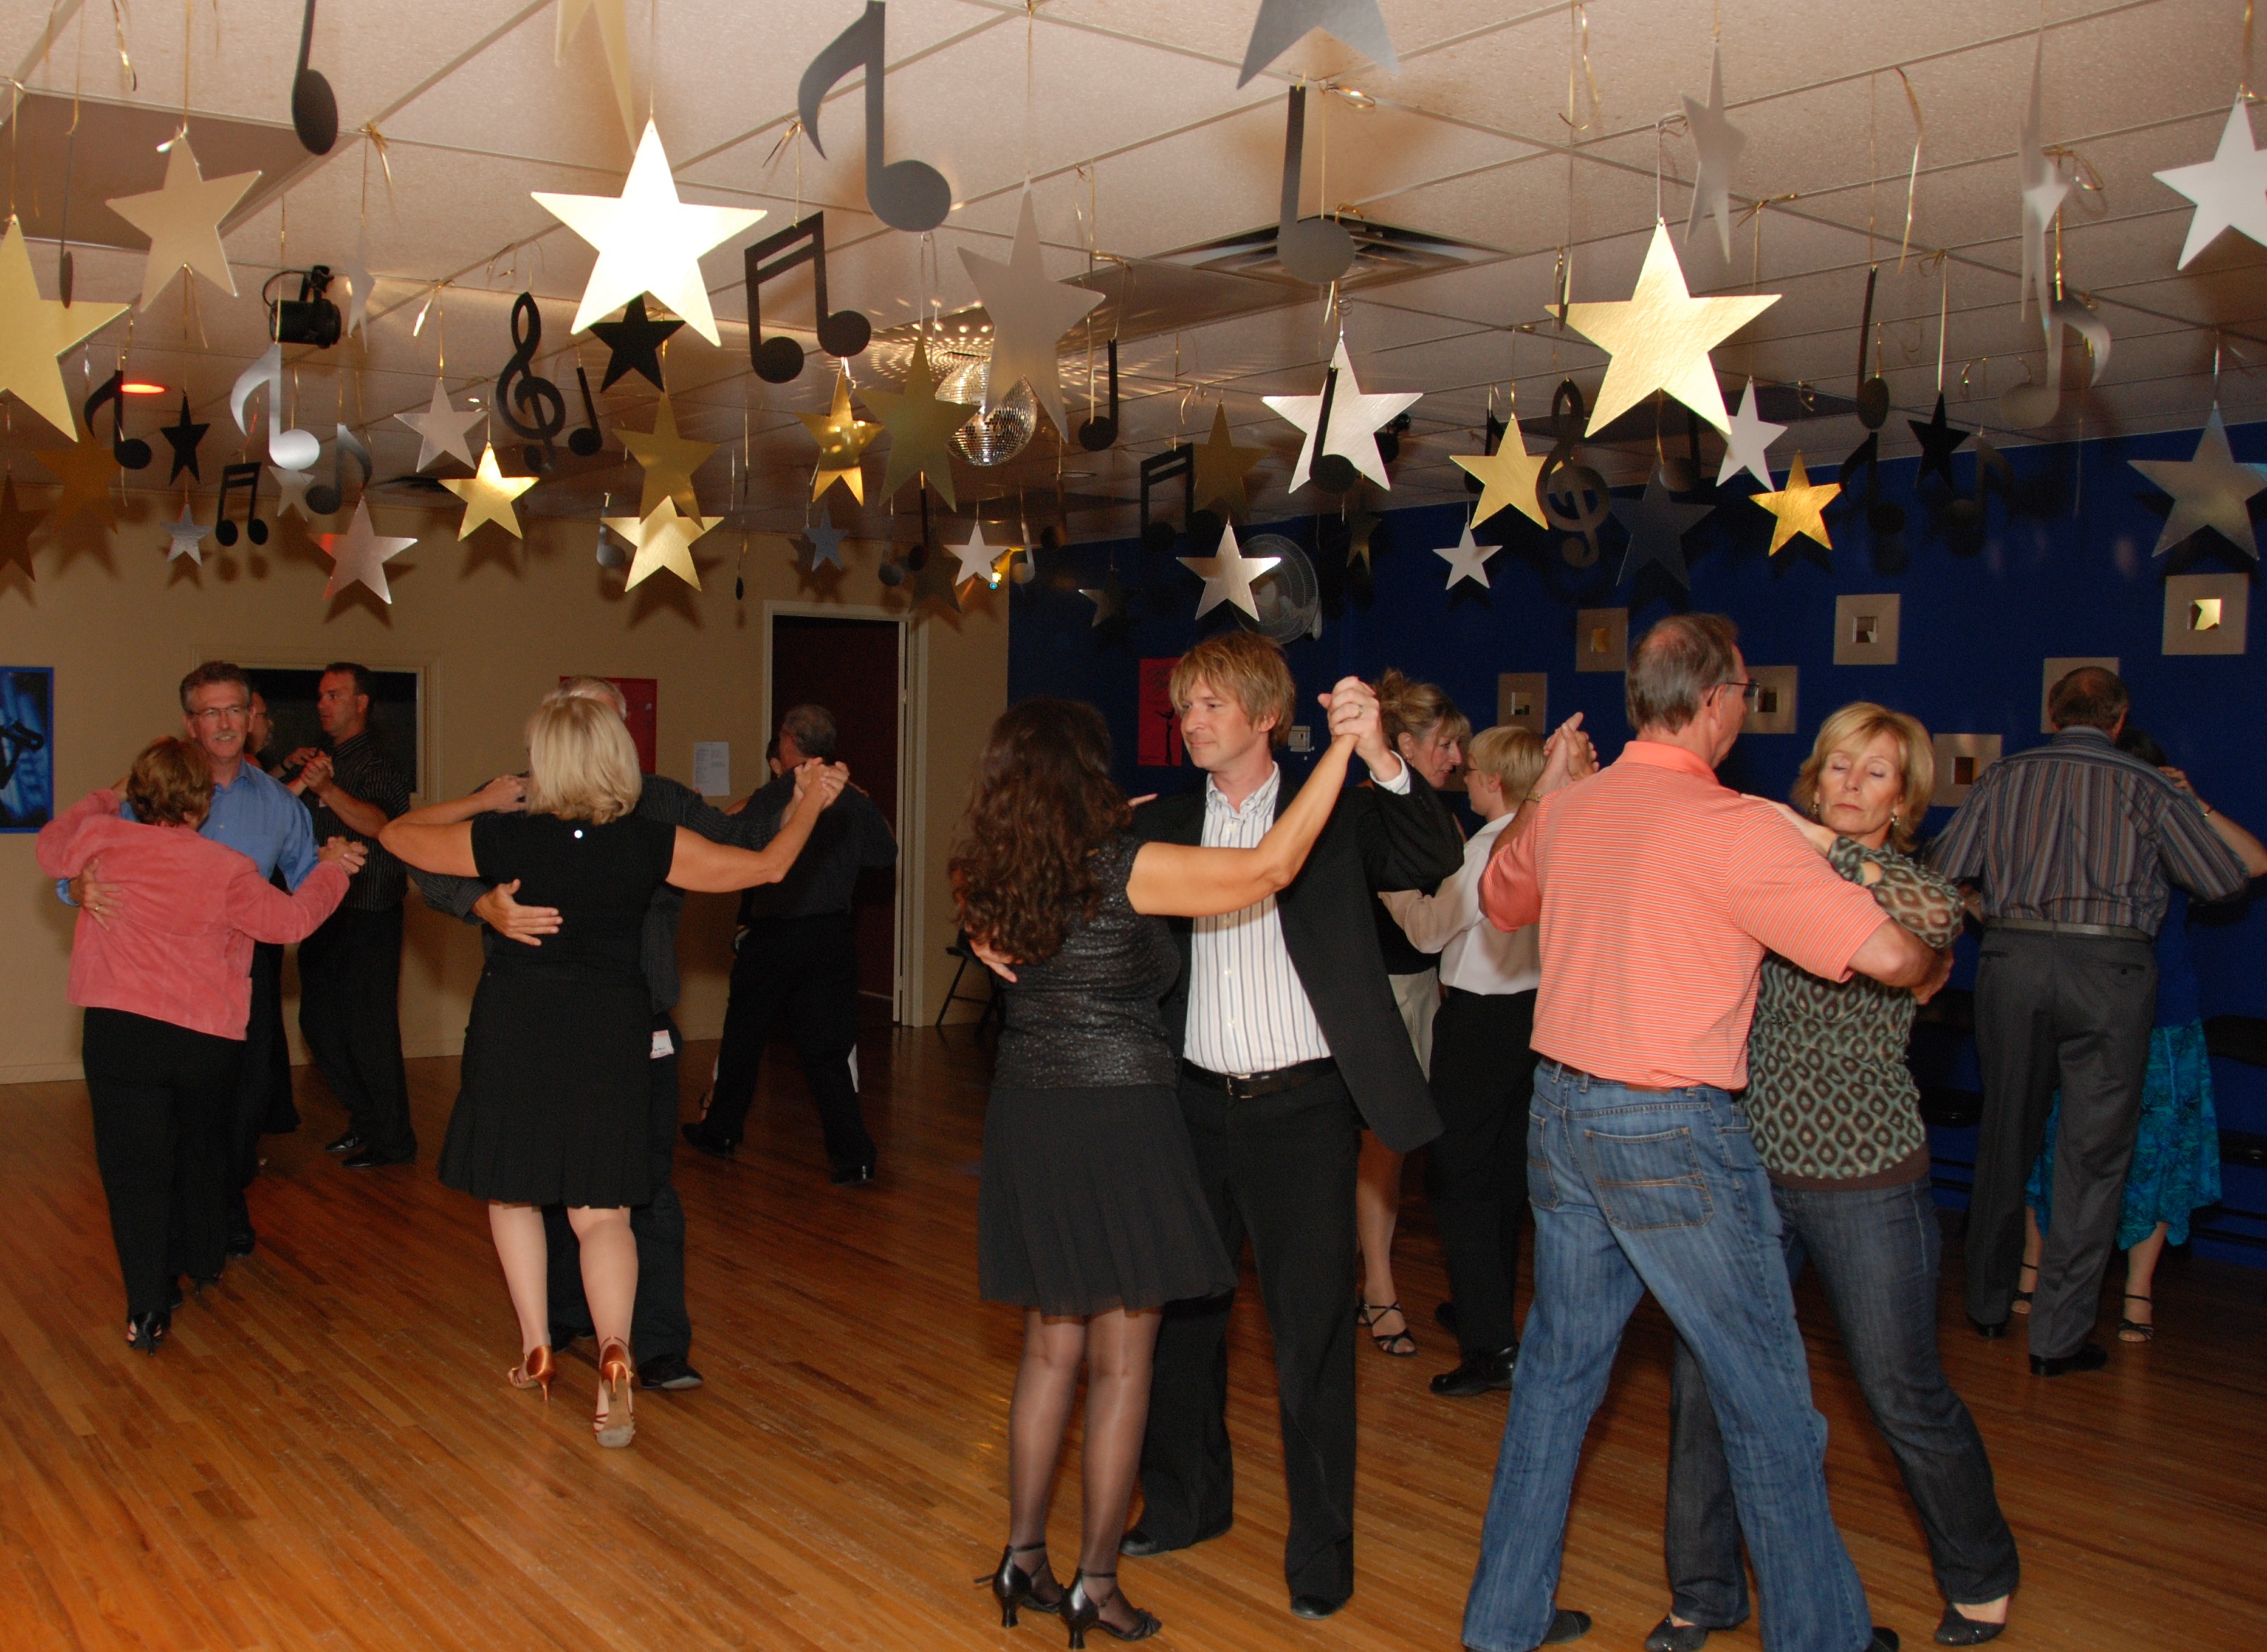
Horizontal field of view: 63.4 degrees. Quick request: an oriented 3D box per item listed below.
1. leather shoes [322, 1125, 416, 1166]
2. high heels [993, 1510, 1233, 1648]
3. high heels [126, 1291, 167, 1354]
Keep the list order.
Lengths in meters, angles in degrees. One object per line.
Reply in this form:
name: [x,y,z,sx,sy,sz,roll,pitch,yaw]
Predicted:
leather shoes: [-3.247,1.361,7.782,0.309,0.153,0.112,11,3,20]
high heels: [-0.117,1.709,4.150,0.359,0.170,0.196,15,-8,-38]
high heels: [-3.017,1.516,5.597,0.071,0.228,0.082,5,-20,-9]
